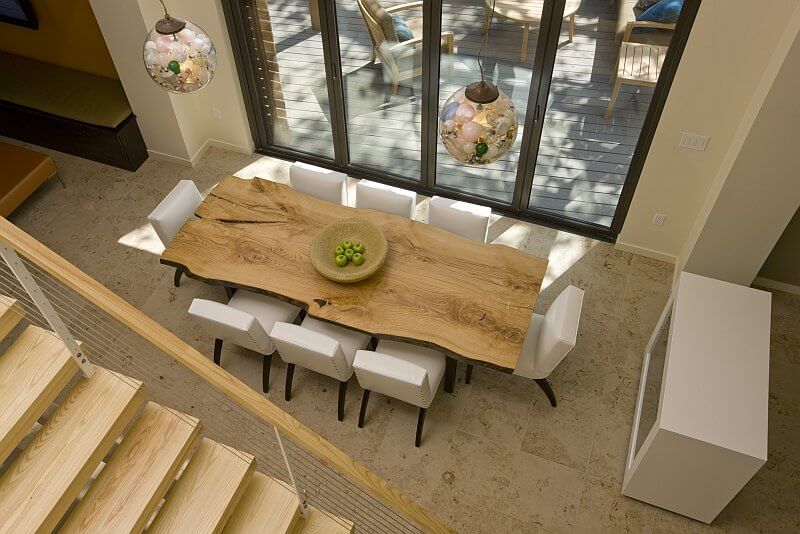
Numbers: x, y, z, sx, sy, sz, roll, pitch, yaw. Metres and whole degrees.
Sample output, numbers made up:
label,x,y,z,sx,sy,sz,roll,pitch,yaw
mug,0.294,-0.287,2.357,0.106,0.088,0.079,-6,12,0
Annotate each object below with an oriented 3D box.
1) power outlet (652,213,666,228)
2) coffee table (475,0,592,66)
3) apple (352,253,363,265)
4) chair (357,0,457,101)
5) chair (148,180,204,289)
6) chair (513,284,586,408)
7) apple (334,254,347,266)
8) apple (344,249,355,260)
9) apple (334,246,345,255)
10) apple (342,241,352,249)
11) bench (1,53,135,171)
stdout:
label,x,y,z,sx,sy,sz,roll,pitch,yaw
power outlet,2.789,-0.502,5.592,0.140,0.190,0.020,15,50,14
coffee table,1.250,-2.285,5.082,0.898,0.572,0.157,11,48,13
apple,-0.371,-0.064,4.749,0.093,0.086,0.092,-40,80,-3
chair,0.101,-2.455,5.672,0.850,0.884,0.697,-20,65,-13
chair,-2.338,-0.281,5.439,0.607,1.026,0.591,31,64,-5
chair,1.365,0.770,4.771,0.652,0.911,0.595,13,69,14
apple,-0.525,-0.053,4.763,0.099,0.093,0.095,0,53,-7
apple,-0.457,-0.109,4.764,0.076,0.077,0.076,-4,75,1
apple,-0.557,-0.136,4.790,0.067,0.062,0.067,22,55,19
apple,-0.485,-0.202,4.794,0.070,0.064,0.069,-26,48,-35
bench,-4.213,-1.895,6.840,1.762,0.883,0.593,12,48,14
